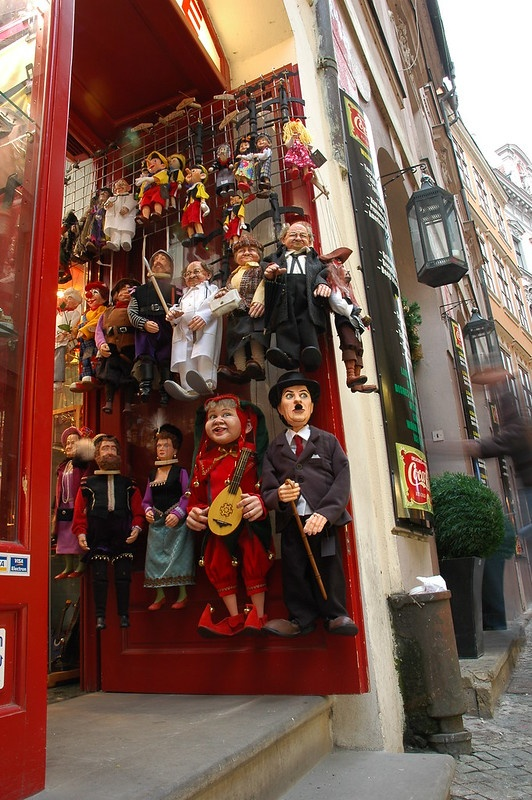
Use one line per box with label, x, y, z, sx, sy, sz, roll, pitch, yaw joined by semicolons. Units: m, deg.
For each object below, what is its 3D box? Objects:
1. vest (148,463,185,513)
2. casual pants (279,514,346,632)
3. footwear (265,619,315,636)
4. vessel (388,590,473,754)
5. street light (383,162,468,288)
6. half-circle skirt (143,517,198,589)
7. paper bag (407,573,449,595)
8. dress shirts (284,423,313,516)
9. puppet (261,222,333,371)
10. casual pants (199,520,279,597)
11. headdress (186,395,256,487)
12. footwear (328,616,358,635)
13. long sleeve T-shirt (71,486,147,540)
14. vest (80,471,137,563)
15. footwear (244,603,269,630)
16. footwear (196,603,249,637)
vest;-0.587;0.531;3.385;0.192;0.208;0.118;-19;-34;16
casual pants;0.213;0.796;2.691;0.290;0.502;0.187;-6;-17;3
footwear;0.108;1.019;2.614;0.219;0.079;0.080;19;-25;-29
vessel;0.930;1.531;3.268;0.385;0.821;0.213;-5;-17;2
street light;1.774;-1.955;6.180;0.513;1.489;0.427;-11;-18;19
half-circle skirt;-0.543;0.830;3.226;0.250;0.414;0.111;-2;-13;7
paper bag;0.989;1.125;3.471;0.278;0.124;0.205;-2;-11;3
dress shirts;0.158;0.340;2.800;0.120;0.400;0.066;-5;-22;9
puppet;0.166;-0.606;3.209;0.379;0.974;0.290;-5;-17;0
casual pants;-0.132;0.807;2.949;0.374;0.528;0.100;-20;-38;6
headdress;-0.246;0.218;3.238;0.328;0.453;0.184;1;-6;40
footwear;0.334;1.008;2.548;0.115;0.087;0.132;-3;-16;-7
long sleeve T-shirt;-0.956;0.689;3.497;0.414;0.232;0.409;-2;-50;-17
vest;-0.941;0.762;3.550;0.357;0.722;0.165;3;14;-2
footwear;-0.060;1.045;2.703;0.063;0.081;0.189;-6;-28;16
footwear;-0.251;1.110;2.870;0.109;0.146;0.323;-26;-40;32
